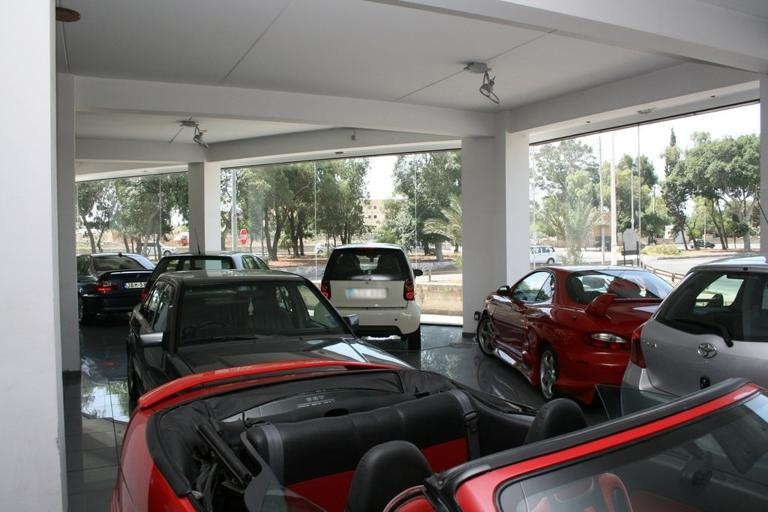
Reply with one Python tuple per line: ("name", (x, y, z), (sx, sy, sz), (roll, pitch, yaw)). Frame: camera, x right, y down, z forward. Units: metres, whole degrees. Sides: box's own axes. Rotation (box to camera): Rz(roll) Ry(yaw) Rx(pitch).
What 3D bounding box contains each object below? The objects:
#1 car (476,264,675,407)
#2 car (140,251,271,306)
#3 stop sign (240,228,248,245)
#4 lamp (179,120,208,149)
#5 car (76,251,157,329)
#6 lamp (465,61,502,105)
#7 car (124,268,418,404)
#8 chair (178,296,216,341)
("car", (2.217, 0.791, 5.982), (1.496, 0.837, 2.511), (-1, 8, -11))
("car", (-3.380, 0.608, 9.237), (1.287, 1.109, 2.312), (1, 5, 3))
("stop sign", (-4.120, -0.579, 14.480), (0.313, 0.440, 0.038), (0, 5, 27))
("lamp", (-4.191, -2.745, 11.015), (0.680, 0.647, 0.426), (-5, 4, -28))
("car", (-5.662, 0.620, 10.253), (1.168, 0.890, 2.583), (-2, 7, -37))
("lamp", (1.464, -2.522, 7.224), (0.648, 0.624, 0.434), (-6, 4, -19))
("car", (-0.980, 0.674, 4.479), (1.309, 0.798, 2.193), (-3, 10, -23))
("chair", (-1.672, 0.555, 4.366), (0.235, 0.175, 0.378), (0, 33, -22))
